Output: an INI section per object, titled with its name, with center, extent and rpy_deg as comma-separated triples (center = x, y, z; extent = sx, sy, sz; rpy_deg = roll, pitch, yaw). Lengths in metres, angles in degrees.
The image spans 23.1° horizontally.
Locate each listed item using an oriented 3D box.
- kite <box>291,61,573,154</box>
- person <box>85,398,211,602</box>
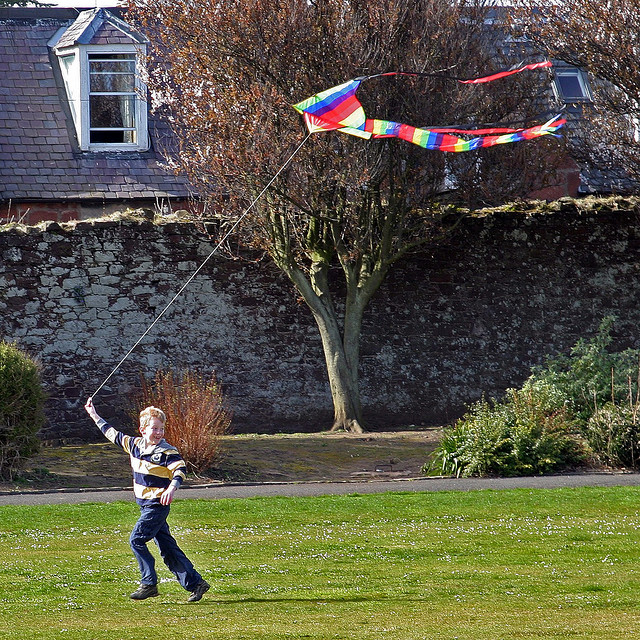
[kite]
center = 1.548, -2.501, 20.924
extent = 3.517, 1.728, 0.634
rpy_deg = -9, -20, -2
[person]
center = -1.796, 1.907, 16.528
extent = 0.679, 1.929, 1.363
rpy_deg = -10, 13, -42
